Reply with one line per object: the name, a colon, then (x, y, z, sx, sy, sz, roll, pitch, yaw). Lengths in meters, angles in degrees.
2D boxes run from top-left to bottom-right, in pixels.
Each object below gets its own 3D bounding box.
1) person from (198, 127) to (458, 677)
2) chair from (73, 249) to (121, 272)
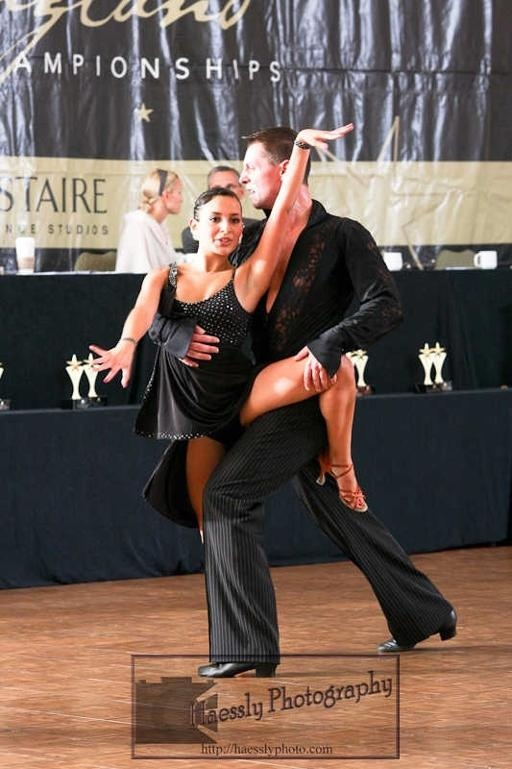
person: (0.168, 0.046, 1.875, 0.615, 1.167, 0.365, 1, -4, -31)
chair: (-0.719, -0.559, 3.982, 0.150, 0.095, 0.240, 1, 5, 20)
